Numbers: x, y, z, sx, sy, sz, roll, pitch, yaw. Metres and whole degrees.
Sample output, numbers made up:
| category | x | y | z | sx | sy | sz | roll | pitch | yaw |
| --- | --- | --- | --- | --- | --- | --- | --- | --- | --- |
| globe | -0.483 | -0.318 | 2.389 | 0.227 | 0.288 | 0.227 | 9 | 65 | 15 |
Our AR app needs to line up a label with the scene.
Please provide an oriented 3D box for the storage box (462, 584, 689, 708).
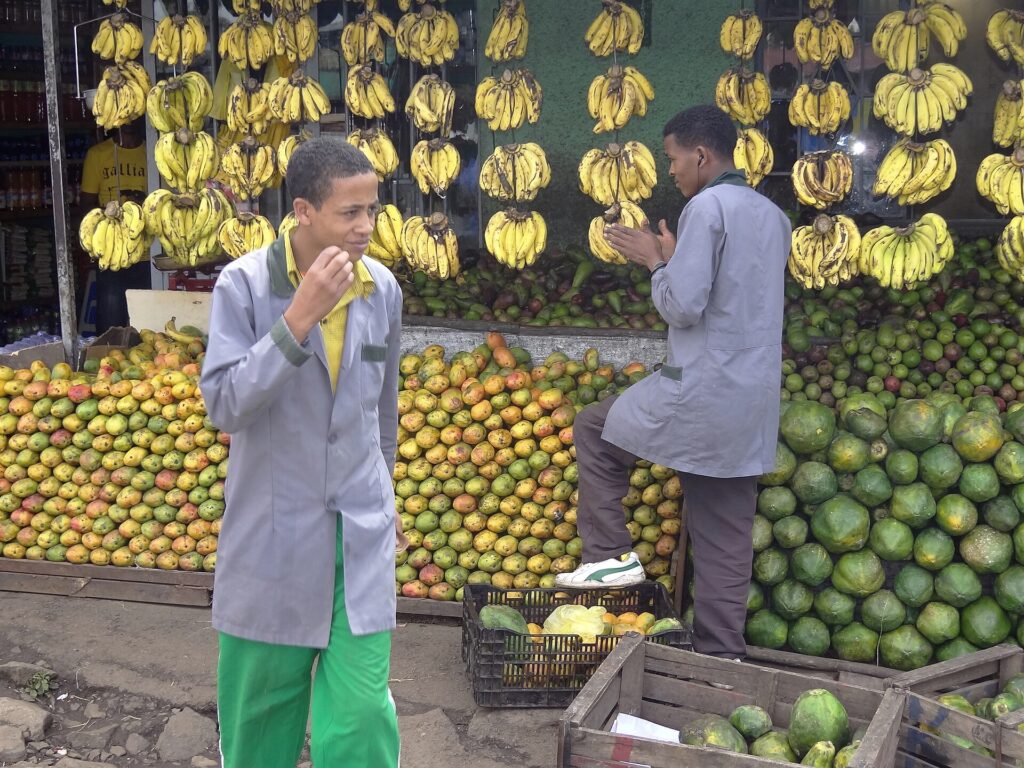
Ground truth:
| category | x | y | z | sx | sy | sz | roll | pitch | yaw |
| --- | --- | --- | --- | --- | --- | --- | --- | --- | --- |
| storage box | 0.136 | 1.270 | 4.674 | 1.123 | 0.514 | 0.748 | -2 | 15 | -12 |

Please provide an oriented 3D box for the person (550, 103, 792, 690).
| category | x | y | z | sx | sy | sz | roll | pitch | yaw |
| --- | --- | --- | --- | --- | --- | --- | --- | --- | --- |
| person | 0.795 | 0.001 | 4.259 | 0.904 | 2.559 | 0.439 | 4 | 9 | 18 |

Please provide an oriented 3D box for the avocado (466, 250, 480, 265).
| category | x | y | z | sx | sy | sz | roll | pitch | yaw |
| --- | --- | --- | --- | --- | --- | --- | --- | --- | --- |
| avocado | -0.312 | -0.960 | 6.944 | 0.122 | 0.129 | 0.254 | 0 | 10 | -4 |

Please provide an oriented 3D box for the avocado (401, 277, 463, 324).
| category | x | y | z | sx | sy | sz | roll | pitch | yaw |
| --- | --- | --- | --- | --- | --- | --- | --- | --- | --- |
| avocado | -0.530 | -0.610 | 6.228 | 0.448 | 0.253 | 0.697 | 0 | 10 | -7 |

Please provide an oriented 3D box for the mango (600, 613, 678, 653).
| category | x | y | z | sx | sy | sz | roll | pitch | yaw |
| --- | --- | --- | --- | --- | --- | --- | --- | --- | --- |
| mango | 0.608 | 1.176 | 4.341 | 0.285 | 0.107 | 0.209 | 0 | -1 | -5 |

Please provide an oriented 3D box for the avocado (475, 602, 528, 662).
| category | x | y | z | sx | sy | sz | roll | pitch | yaw |
| --- | --- | --- | --- | --- | --- | --- | --- | --- | --- |
| avocado | -0.037 | 1.151 | 4.329 | 0.241 | 0.159 | 0.332 | 1 | 10 | -3 |
